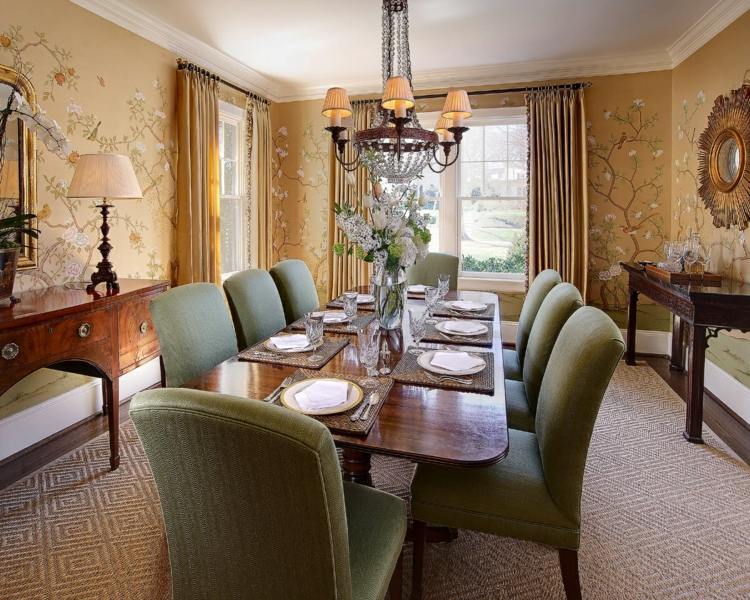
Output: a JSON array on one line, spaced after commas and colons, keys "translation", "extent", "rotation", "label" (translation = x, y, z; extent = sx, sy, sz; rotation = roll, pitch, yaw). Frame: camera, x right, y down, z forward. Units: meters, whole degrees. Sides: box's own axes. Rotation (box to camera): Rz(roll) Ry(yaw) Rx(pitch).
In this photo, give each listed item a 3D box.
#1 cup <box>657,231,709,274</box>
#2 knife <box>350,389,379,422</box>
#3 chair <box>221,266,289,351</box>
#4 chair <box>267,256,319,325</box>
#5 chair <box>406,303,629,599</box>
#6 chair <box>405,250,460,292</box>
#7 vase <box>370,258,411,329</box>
[{"translation": [2.295, -0.310, 4.066], "extent": [0.293, 0.408, 0.326], "rotation": [-2, 0, -4], "label": "cup"}, {"translation": [-0.041, 0.426, 2.175], "extent": [0.042, 0.027, 0.183], "rotation": [1, 16, 10], "label": "knife"}, {"translation": [-0.705, 0.078, 3.225], "extent": [0.159, 0.509, 0.356], "rotation": [-18, 1, 27], "label": "chair"}, {"translation": [-0.582, -0.041, 3.803], "extent": [0.178, 0.445, 0.537], "rotation": [-16, 4, 15], "label": "chair"}, {"translation": [0.642, 0.660, 2.939], "extent": [0.976, 1.759, 1.050], "rotation": [2, 3, 13], "label": "chair"}, {"translation": [0.504, -0.215, 4.719], "extent": [0.285, 0.440, 0.328], "rotation": [-1, -9, 19], "label": "chair"}, {"translation": [0.075, -0.037, 3.060], "extent": [0.160, 0.403, 0.197], "rotation": [1, 28, 5], "label": "vase"}]
